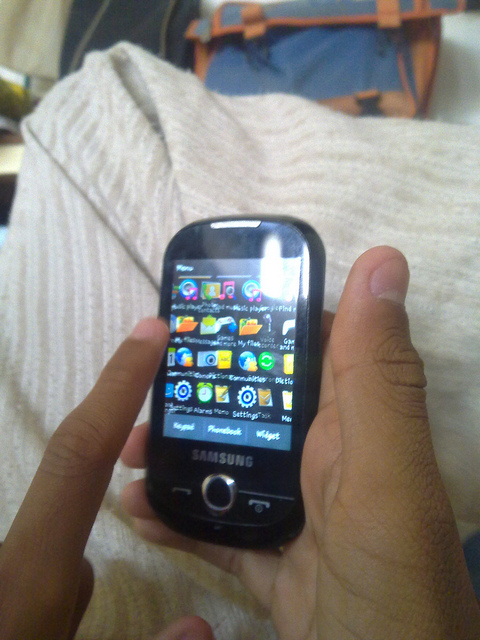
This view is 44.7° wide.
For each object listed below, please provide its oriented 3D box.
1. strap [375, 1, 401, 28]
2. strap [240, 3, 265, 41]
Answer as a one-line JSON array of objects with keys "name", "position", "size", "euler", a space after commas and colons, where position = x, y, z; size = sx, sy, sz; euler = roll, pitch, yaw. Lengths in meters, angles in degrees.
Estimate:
[{"name": "strap", "position": [0.180, -0.370, 0.706], "size": [0.034, 0.006, 0.046], "euler": [0, 85, 10]}, {"name": "strap", "position": [0.017, -0.396, 0.771], "size": [0.029, 0.028, 0.045], "euler": [-7, 77, 3]}]
